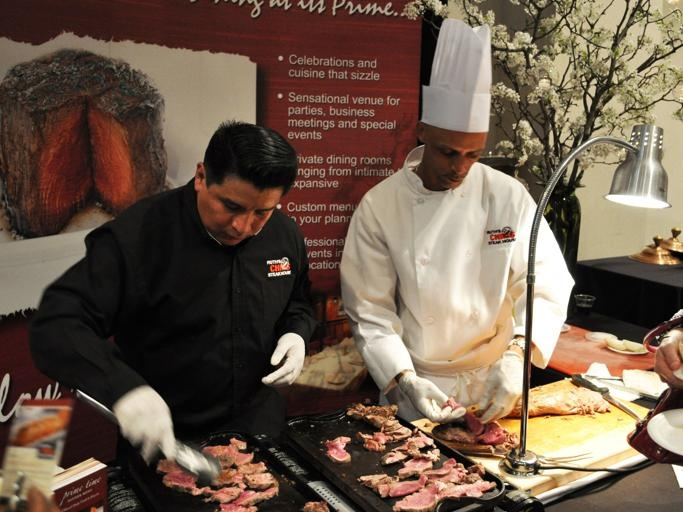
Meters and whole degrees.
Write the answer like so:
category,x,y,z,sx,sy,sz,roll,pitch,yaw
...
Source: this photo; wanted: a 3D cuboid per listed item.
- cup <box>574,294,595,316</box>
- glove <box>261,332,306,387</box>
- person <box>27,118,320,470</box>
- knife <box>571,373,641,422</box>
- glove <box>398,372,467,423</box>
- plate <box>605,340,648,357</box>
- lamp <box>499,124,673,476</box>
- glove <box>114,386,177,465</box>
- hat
category,x,y,z,sx,sy,sz,roll,pitch,yaw
cup,1.797,0.358,3.895,0.153,0.128,0.156,2,8,0
glove,-0.254,0.477,2.356,0.153,0.104,0.322,7,28,0
person,-0.586,0.148,2.199,0.735,1.360,1.149,10,15,32
knife,1.218,0.640,2.468,0.059,0.045,0.428,-6,12,-12
glove,0.390,0.616,2.312,0.089,0.131,0.315,-18,15,-3
plate,1.673,0.539,3.092,0.145,0.034,0.142,6,15,4
lamp,1.031,0.121,2.142,0.541,1.298,0.889,6,14,20
glove,-0.688,0.591,1.844,0.184,0.066,0.272,-29,63,-28
hat,0.540,-0.829,2.452,0.299,0.517,0.199,3,13,9
